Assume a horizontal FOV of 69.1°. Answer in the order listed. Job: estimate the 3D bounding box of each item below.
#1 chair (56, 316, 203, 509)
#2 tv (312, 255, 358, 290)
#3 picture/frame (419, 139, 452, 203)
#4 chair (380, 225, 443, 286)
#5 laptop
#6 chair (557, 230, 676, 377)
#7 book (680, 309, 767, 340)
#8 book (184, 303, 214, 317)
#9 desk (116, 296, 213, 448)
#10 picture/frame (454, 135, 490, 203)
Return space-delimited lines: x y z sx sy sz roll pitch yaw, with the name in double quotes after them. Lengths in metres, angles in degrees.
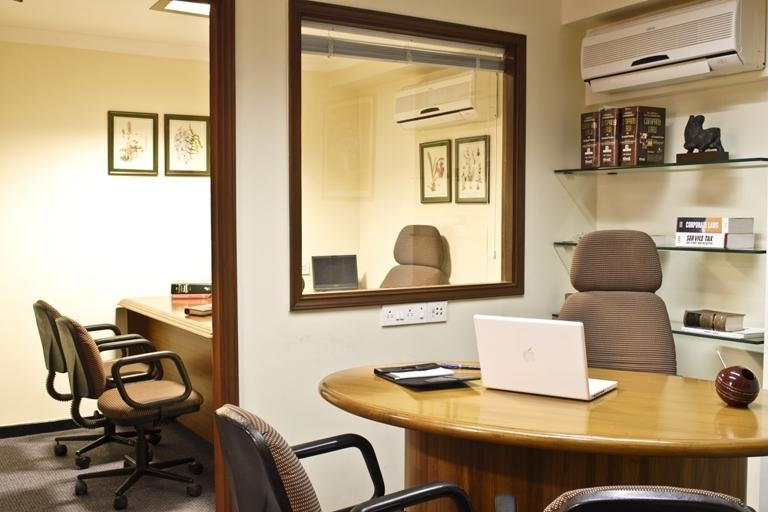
-1.862 1.088 4.455 1.212 1.492 1.156 2 -2 -26 "chair"
-0.313 0.106 3.378 0.211 0.157 0.028 2 -6 -32 "tv"
0.335 -0.548 3.680 0.235 0.396 0.052 -5 10 -24 "picture/frame"
0.207 0.015 3.622 0.296 0.453 0.466 -6 -4 43 "chair"
0.619 0.437 2.370 0.481 0.314 0.374 0 1 35 "laptop"
1.237 0.284 3.601 0.634 0.961 0.836 -1 -1 13 "chair"
2.005 0.425 3.377 0.220 0.094 0.277 -1 1 -33 "book"
-1.427 0.433 4.402 0.185 0.045 0.176 0 -1 31 "book"
-1.708 0.956 4.416 0.696 0.848 1.286 1 1 -33 "desk"
0.593 -0.582 3.785 0.277 0.443 0.059 -5 10 -28 "picture/frame"
